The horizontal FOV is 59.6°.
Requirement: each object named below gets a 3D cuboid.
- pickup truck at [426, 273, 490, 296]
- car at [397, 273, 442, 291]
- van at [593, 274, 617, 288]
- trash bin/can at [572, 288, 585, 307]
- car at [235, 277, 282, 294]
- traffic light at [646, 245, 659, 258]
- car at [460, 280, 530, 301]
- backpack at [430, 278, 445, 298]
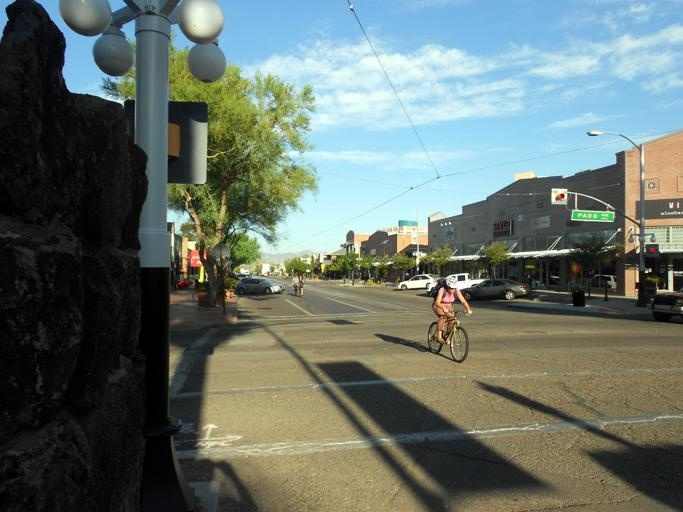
[{"bbox_3d":[5.709,1.323,28.849,3.223,1.240,1.500,0,-2,-3],"label":"pickup truck"},{"bbox_3d":[6.197,2.078,48.949,2.962,1.045,1.345,-1,-2,12],"label":"car"},{"bbox_3d":[15.921,1.542,36.845,0.858,0.863,2.464,1,4,-2],"label":"van"},{"bbox_3d":[10.027,1.780,25.278,0.441,0.604,0.513,-1,-1,11],"label":"trash bin/can"},{"bbox_3d":[-6.342,2.227,45.093,3.243,1.242,1.465,-1,-2,-13],"label":"car"},{"bbox_3d":[14.002,-0.255,27.004,0.345,0.451,0.648,-1,-1,17],"label":"traffic light"},{"bbox_3d":[8.385,1.823,32.761,2.973,1.041,1.435,1,-2,11],"label":"car"},{"bbox_3d":[1.959,0.643,12.183,0.153,0.277,0.483,14,-28,-20],"label":"backpack"}]
